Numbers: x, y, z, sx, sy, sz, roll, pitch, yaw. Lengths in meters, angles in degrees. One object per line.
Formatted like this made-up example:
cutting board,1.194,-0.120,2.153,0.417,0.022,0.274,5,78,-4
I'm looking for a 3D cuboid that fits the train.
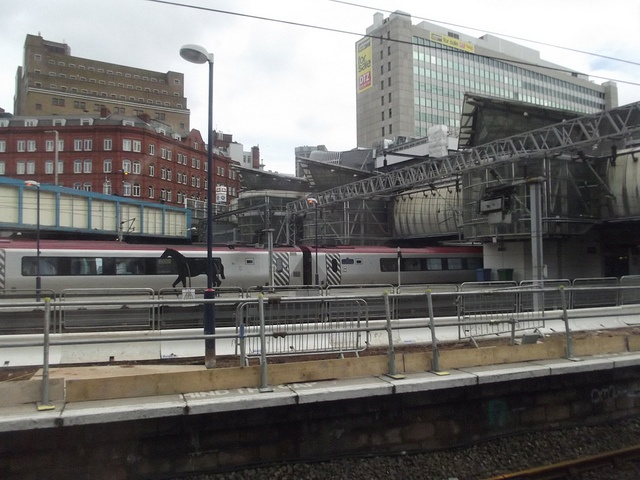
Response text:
train,-3.886,1.430,32.918,25.792,2.865,2.312,-1,0,-20
